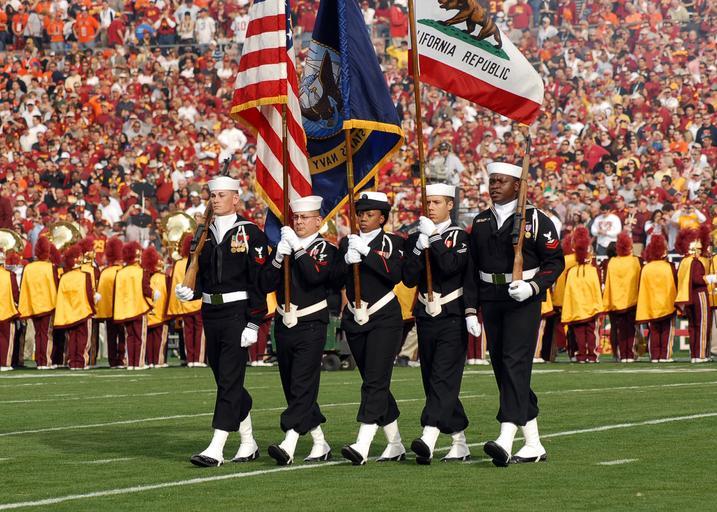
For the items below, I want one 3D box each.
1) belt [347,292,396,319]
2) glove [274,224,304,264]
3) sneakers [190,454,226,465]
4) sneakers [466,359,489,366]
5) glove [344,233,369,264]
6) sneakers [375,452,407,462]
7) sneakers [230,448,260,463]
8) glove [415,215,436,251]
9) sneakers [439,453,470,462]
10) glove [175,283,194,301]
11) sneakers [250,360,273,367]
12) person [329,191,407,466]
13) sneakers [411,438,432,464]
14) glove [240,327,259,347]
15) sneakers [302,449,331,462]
[{"bbox_3d":[0.260,0.629,21.419,0.385,0.161,0.418,-21,0,43],"label":"belt"},{"bbox_3d":[-0.966,-0.166,21.443,0.397,0.457,0.152,-5,-1,-16],"label":"glove"},{"bbox_3d":[-2.084,2.811,21.130,0.363,0.145,0.158,17,-28,-20],"label":"sneakers"},{"bbox_3d":[2.375,2.142,30.943,0.448,0.169,0.147,-3,0,13],"label":"sneakers"},{"bbox_3d":[-0.025,-0.097,21.315,0.346,0.394,0.134,-11,2,0],"label":"glove"},{"bbox_3d":[0.464,2.804,21.500,0.393,0.145,0.137,4,-8,-8],"label":"sneakers"},{"bbox_3d":[-1.565,2.806,21.537,0.413,0.162,0.148,8,-13,-37],"label":"sneakers"},{"bbox_3d":[0.931,-0.323,21.455,0.343,0.431,0.136,-32,-22,31],"label":"glove"},{"bbox_3d":[1.363,2.824,21.409,0.363,0.135,0.134,3,-6,-4],"label":"sneakers"},{"bbox_3d":[-2.399,0.518,21.462,0.252,0.231,0.179,-2,5,-6],"label":"glove"},{"bbox_3d":[-1.947,2.200,31.253,0.483,0.181,0.161,-3,-1,24],"label":"sneakers"},{"bbox_3d":[0.217,0.994,21.406,0.872,3.726,0.977,-2,5,1],"label":"person"},{"bbox_3d":[0.873,2.691,21.204,0.267,0.378,0.241,-1,5,3],"label":"sneakers"},{"bbox_3d":[-1.468,1.130,21.351,0.293,0.294,0.190,-5,6,-35],"label":"glove"},{"bbox_3d":[-0.563,2.791,21.426,0.397,0.147,0.137,4,-9,-24],"label":"sneakers"}]
